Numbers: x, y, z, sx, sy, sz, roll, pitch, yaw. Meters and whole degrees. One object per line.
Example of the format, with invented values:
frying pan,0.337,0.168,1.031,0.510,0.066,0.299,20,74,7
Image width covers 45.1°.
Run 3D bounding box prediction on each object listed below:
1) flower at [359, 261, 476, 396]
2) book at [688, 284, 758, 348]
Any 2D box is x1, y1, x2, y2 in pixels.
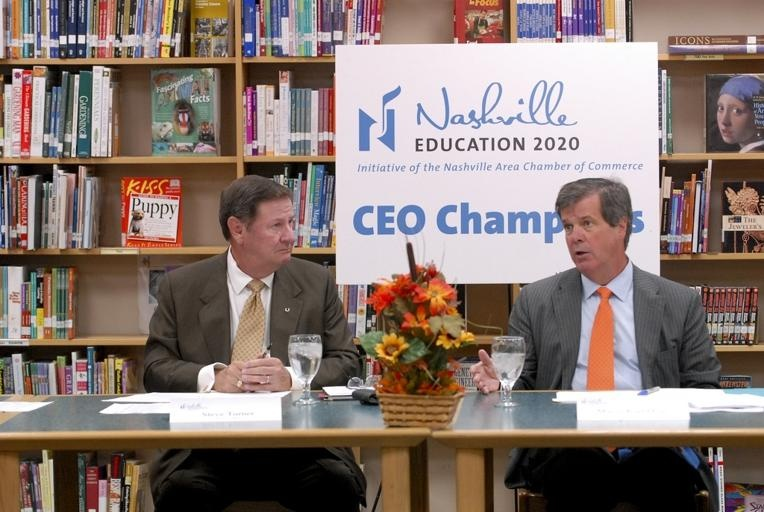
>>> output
flower,0.131,0.267,3.297,0.470,0.495,0.360,-2,1,0
book,1.723,0.304,4.584,0.316,0.311,0.175,-1,-2,1
